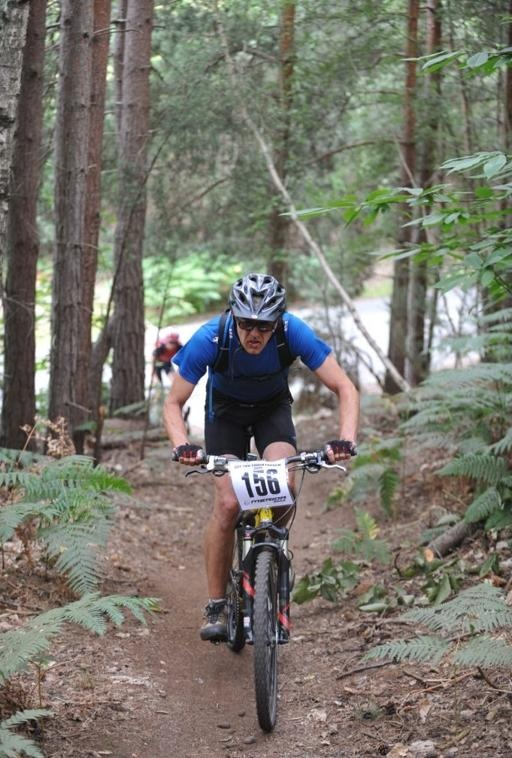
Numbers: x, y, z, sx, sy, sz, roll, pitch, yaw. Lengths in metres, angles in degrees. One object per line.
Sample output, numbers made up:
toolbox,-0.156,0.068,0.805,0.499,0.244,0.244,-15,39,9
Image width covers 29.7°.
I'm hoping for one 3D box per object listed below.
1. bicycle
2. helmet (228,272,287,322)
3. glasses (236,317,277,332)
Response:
bicycle,0.024,1.093,5.321,0.821,1.516,0.975,-1,2,-8
helmet,0.006,-0.457,5.433,0.310,0.288,0.326,-1,2,-1
glasses,-0.001,-0.294,5.365,0.210,0.087,0.127,-1,2,-3
